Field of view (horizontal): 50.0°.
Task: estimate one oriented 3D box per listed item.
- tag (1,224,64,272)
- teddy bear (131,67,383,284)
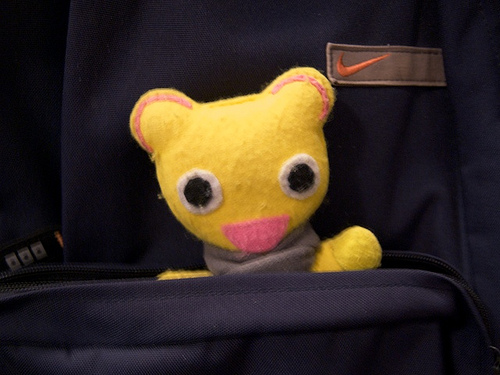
[{"bbox_3d":[-0.354,0.090,0.865,0.114,0.029,0.061,-27,107,-27],"label":"tag"},{"bbox_3d":[-0.016,0.017,0.819,0.371,0.195,0.370,-12,106,-5],"label":"teddy bear"}]
